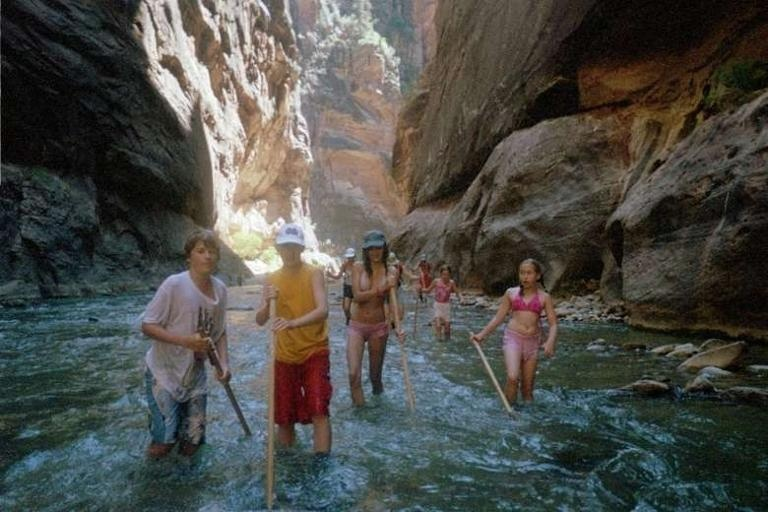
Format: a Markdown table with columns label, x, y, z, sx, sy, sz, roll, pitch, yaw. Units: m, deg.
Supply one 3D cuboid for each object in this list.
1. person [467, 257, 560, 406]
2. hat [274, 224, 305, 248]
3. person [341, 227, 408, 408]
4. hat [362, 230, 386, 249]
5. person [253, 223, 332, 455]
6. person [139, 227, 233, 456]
| label | x | y | z | sx | sy | sz | roll | pitch | yaw |
| --- | --- | --- | --- | --- | --- | --- | --- | --- | --- |
| person | 1.971 | 1.086 | 7.291 | 0.973 | 2.078 | 0.415 | -2 | -5 | 19 |
| hat | -1.113 | -0.252 | 6.007 | 0.336 | 0.288 | 0.207 | 1 | -5 | -11 |
| person | -0.199 | 0.941 | 7.619 | 0.713 | 2.587 | 0.634 | 0 | -5 | -5 |
| hat | -0.166 | -0.259 | 7.763 | 0.310 | 0.364 | 0.719 | 0 | -6 | -4 |
| person | -1.053 | 0.990 | 6.067 | 0.832 | 2.754 | 0.653 | 0 | -5 | -6 |
| person | -2.307 | 1.020 | 5.903 | 0.955 | 2.628 | 0.599 | 1 | -5 | -17 |
